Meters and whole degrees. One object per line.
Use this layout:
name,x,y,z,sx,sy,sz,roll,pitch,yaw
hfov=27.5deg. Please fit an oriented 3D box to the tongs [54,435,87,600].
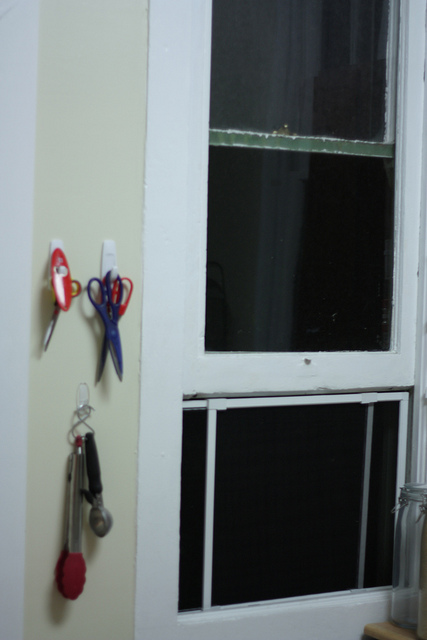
tongs,-0.228,0.321,1.415,0.060,0.242,0.046,5,-1,-35

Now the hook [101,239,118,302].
hook,-0.175,-0.085,1.461,0.027,0.014,0.143,-1,-43,-9

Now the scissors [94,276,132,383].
scissors,-0.175,0.009,1.489,0.079,0.016,0.294,-14,-33,-17

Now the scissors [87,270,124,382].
scissors,-0.178,0.011,1.437,0.063,0.186,0.044,2,2,-13

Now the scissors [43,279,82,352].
scissors,-0.260,0.005,1.423,0.006,0.136,0.047,17,-5,-38

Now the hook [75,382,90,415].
hook,-0.217,0.130,1.443,0.023,0.053,0.009,1,2,-16

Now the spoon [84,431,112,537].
spoon,-0.189,0.269,1.424,0.049,0.164,0.040,3,2,35
